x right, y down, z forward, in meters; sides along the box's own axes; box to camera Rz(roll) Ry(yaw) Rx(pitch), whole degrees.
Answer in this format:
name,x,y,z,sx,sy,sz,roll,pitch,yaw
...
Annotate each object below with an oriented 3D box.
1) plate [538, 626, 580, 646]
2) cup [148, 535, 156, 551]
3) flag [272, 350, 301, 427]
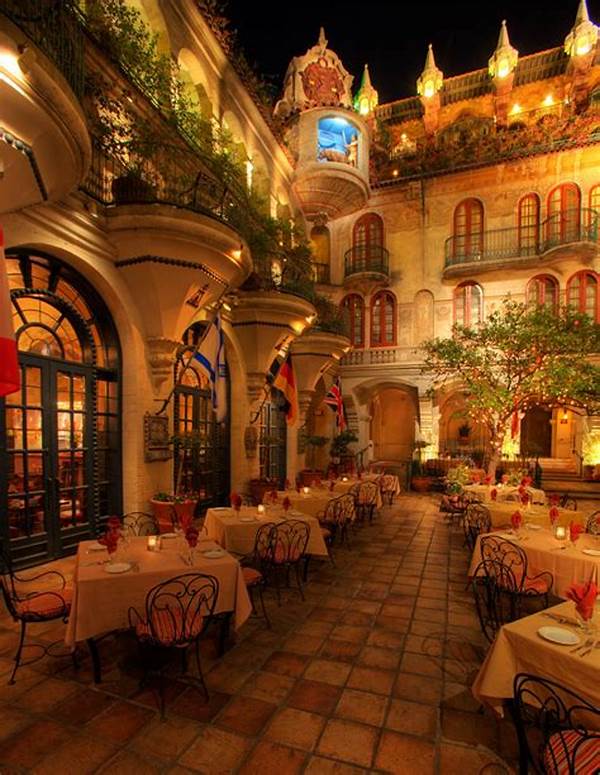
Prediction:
name,x,y,z,sx,sy,sz,roll,pitch,yaw
plate,1.669,1.607,3.858,0.246,0.024,0.269,3,4,15
cup,-1.337,1.425,5.447,0.091,0.148,0.094,0,2,0
flag,-0.257,0.090,11.243,0.449,1.368,1.399,1,4,-3
